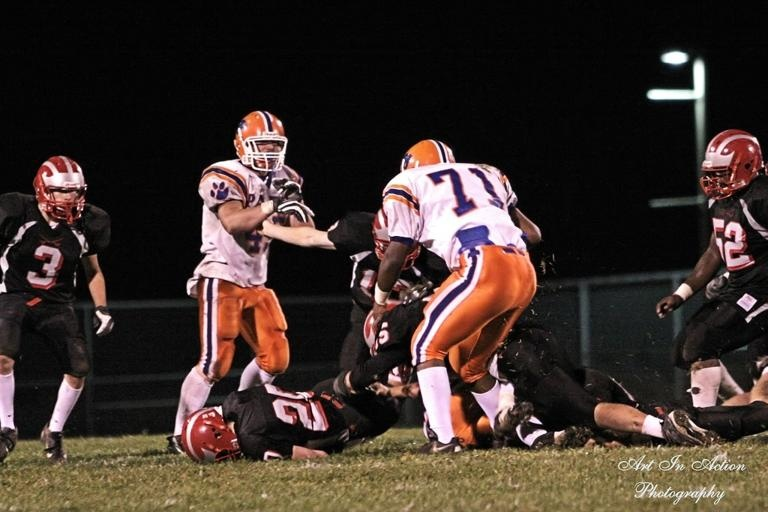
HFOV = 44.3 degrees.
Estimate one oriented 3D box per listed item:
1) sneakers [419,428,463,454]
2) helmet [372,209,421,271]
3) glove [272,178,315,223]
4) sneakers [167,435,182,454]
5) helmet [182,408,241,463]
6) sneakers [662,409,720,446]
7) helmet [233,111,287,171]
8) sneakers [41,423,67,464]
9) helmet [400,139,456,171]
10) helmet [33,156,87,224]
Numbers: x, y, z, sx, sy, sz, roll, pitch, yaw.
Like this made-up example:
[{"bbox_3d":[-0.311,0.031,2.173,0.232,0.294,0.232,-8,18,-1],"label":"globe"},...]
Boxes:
[{"bbox_3d":[0.414,1.417,7.136,0.148,0.153,0.380,0,-4,-29],"label":"sneakers"},{"bbox_3d":[0.103,-0.130,7.412,0.331,0.372,0.382,18,30,-26],"label":"helmet"},{"bbox_3d":[-0.823,-0.449,8.200,0.307,0.399,0.205,-14,14,-18],"label":"glove"},{"bbox_3d":[-1.806,1.644,8.147,0.093,0.158,0.281,-3,-6,-23],"label":"sneakers"},{"bbox_3d":[-1.344,1.385,7.181,0.477,0.407,0.341,15,-15,-13],"label":"helmet"},{"bbox_3d":[2.156,1.244,6.779,0.507,0.155,0.220,9,-4,15],"label":"sneakers"},{"bbox_3d":[-1.085,-1.062,8.633,0.460,0.462,0.576,-5,13,-30],"label":"helmet"},{"bbox_3d":[-2.747,1.597,7.969,0.165,0.375,0.146,-45,-25,28],"label":"sneakers"},{"bbox_3d":[0.343,-0.817,7.679,0.360,0.294,0.265,4,4,27],"label":"helmet"},{"bbox_3d":[-2.759,-0.567,8.064,0.463,0.483,0.597,-5,25,-33],"label":"helmet"}]
